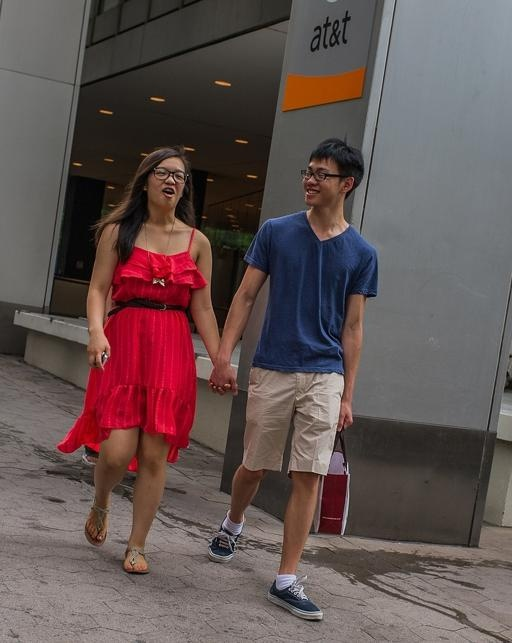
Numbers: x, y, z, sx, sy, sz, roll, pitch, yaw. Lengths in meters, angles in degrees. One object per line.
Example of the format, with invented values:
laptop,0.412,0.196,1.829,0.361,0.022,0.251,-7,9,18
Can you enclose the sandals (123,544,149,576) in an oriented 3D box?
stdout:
sandals,-0.429,0.843,1.757,0.050,0.048,0.132,2,-6,-6

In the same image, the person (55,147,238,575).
person,-0.437,0.121,1.925,0.558,1.654,0.447,13,-2,-12

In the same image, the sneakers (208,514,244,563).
sneakers,-0.131,0.962,2.149,0.098,0.103,0.259,26,15,-5

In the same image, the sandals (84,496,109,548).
sandals,-0.611,0.785,1.929,0.068,0.229,0.087,2,-36,-11

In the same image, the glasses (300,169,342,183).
glasses,0.226,-0.541,1.859,0.185,0.048,0.063,12,-2,38
